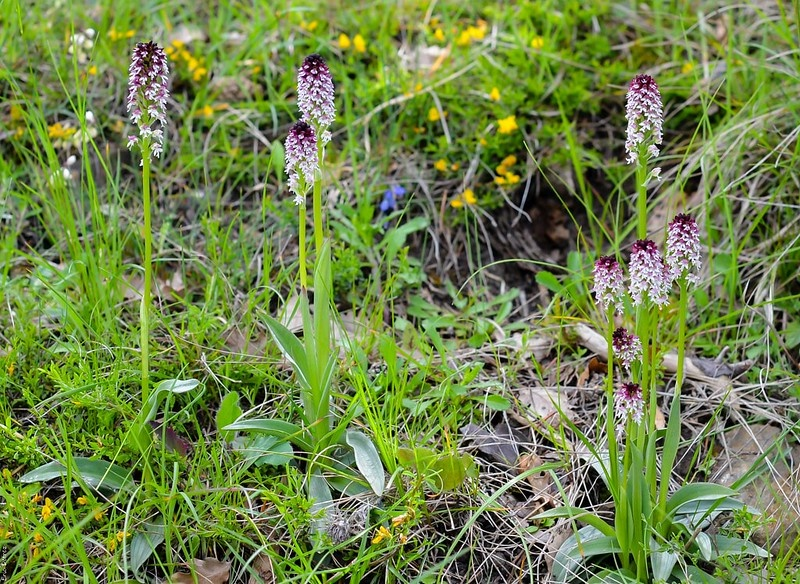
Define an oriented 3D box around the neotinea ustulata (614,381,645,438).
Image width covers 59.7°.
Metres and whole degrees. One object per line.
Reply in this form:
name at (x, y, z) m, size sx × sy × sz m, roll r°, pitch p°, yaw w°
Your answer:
neotinea ustulata at (1.083, 0.542, 3.300) m, size 0.133 × 0.250 × 0.114 m, roll -2°, pitch 42°, yaw 8°
